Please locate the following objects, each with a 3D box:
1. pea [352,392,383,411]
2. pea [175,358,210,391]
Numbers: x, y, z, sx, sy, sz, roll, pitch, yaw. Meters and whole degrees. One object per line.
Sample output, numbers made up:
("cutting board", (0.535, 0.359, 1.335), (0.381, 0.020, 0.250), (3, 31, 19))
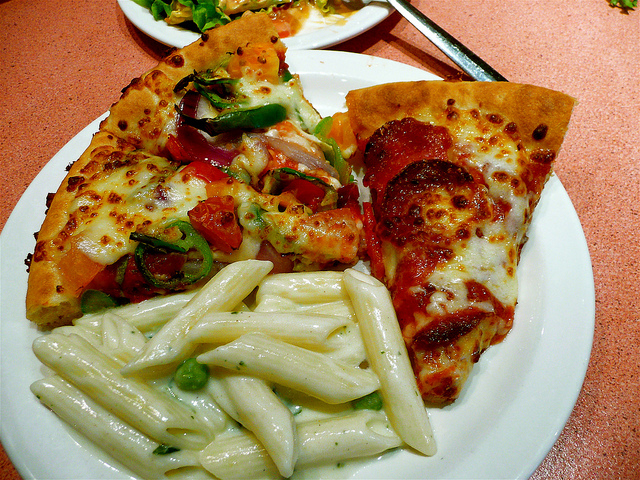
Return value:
("pea", (0.258, 0.892, 3.409), (0.136, 0.046, 0.095), (-11, 109, -8))
("pea", (-0.710, 0.742, 3.414), (0.180, 0.080, 0.175), (-2, 81, 0))
